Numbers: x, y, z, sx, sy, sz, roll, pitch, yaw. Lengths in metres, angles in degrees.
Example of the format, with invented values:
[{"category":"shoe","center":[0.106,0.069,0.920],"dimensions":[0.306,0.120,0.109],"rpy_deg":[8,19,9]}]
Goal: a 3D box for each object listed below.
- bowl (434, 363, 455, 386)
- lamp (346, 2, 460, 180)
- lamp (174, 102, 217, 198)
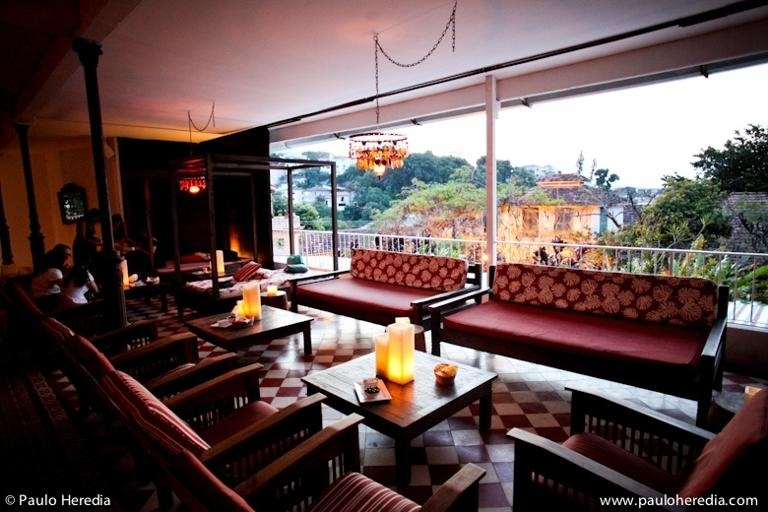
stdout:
[{"category":"bowl","center":[0.567,1.095,4.657],"dimensions":[0.184,0.117,0.185],"rpy_deg":[1,-3,0]},{"category":"lamp","center":[0.124,-1.993,6.760],"dimensions":[1.217,1.806,3.041],"rpy_deg":[-4,10,-15]},{"category":"lamp","center":[-3.523,-1.889,9.427],"dimensions":[0.733,1.487,2.794],"rpy_deg":[-5,10,-20]}]
